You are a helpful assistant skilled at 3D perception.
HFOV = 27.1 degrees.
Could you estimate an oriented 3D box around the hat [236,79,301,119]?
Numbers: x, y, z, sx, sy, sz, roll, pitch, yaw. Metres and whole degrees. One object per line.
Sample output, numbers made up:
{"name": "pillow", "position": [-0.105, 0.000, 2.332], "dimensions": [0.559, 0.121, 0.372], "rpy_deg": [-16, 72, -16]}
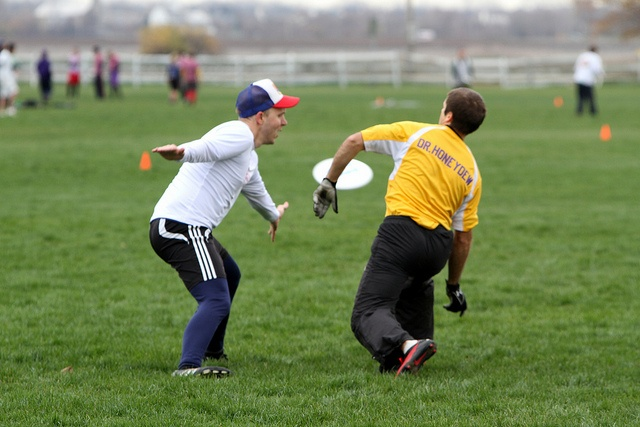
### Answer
{"name": "hat", "position": [-0.594, -1.297, 15.012], "dimensions": [0.630, 0.324, 0.382], "rpy_deg": [-16, 13, 1]}

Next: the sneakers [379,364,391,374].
{"name": "sneakers", "position": [0.749, 1.782, 15.151], "dimensions": [0.065, 0.115, 0.116], "rpy_deg": [5, -6, -41]}

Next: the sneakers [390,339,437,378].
{"name": "sneakers", "position": [1.084, 1.595, 14.660], "dimensions": [0.584, 0.209, 0.281], "rpy_deg": [-43, 17, 7]}
